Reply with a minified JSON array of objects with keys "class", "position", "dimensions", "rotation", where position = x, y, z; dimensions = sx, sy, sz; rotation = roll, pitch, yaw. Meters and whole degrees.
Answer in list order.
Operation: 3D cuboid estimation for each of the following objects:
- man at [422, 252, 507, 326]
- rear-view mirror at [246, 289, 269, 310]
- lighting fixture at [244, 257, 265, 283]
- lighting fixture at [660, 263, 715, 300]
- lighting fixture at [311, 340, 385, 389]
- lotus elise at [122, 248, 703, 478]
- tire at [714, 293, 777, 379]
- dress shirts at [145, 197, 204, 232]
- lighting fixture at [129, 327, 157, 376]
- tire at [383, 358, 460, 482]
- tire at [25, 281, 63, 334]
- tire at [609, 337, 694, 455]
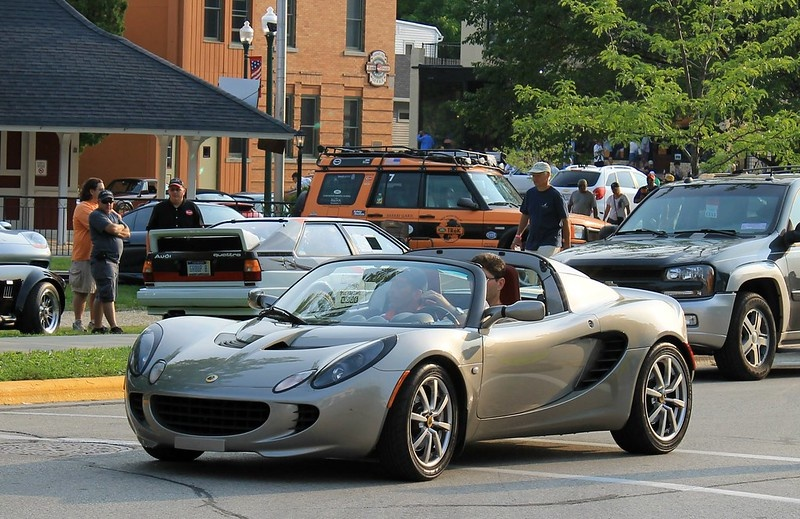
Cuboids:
[{"class":"man","position":[0.680,0.214,11.620],"dimensions":[0.495,0.704,0.472],"rotation":[2,-6,-26]},{"class":"rear-view mirror","position":[-1.440,0.418,11.786],"dimensions":[0.271,0.119,0.157],"rotation":[13,-19,44]},{"class":"lighting fixture","position":[-2.350,0.184,18.048],"dimensions":[0.283,0.348,0.350],"rotation":[5,8,43]},{"class":"lighting fixture","position":[3.914,0.293,15.360],"dimensions":[0.611,0.407,0.224],"rotation":[0,1,3]},{"class":"lighting fixture","position":[-0.449,0.958,10.241],"dimensions":[0.690,0.378,0.178],"rotation":[-2,9,-27]},{"class":"lotus elise","position":[0.339,1.036,11.063],"dimensions":[4.263,1.291,2.509],"rotation":[4,-6,-37]},{"class":"tire","position":[4.690,1.046,15.463],"dimensions":[0.330,0.892,0.929],"rotation":[4,36,45]},{"class":"dress shirts","position":[-3.846,-0.717,19.516],"dimensions":[1.133,0.728,0.509],"rotation":[0,-5,-10]},{"class":"lighting fixture","position":[-2.391,0.897,10.899],"dimensions":[0.135,0.420,0.264],"rotation":[39,-34,-23]},{"class":"tire","position":[0.170,1.453,10.417],"dimensions":[0.335,0.939,1.010],"rotation":[4,20,41]},{"class":"tire","position":[-5.893,0.794,18.686],"dimensions":[0.319,0.812,0.868],"rotation":[-5,-5,24]},{"class":"tire","position":[2.575,1.416,11.742],"dimensions":[0.359,0.935,0.982],"rotation":[0,-29,48]}]
